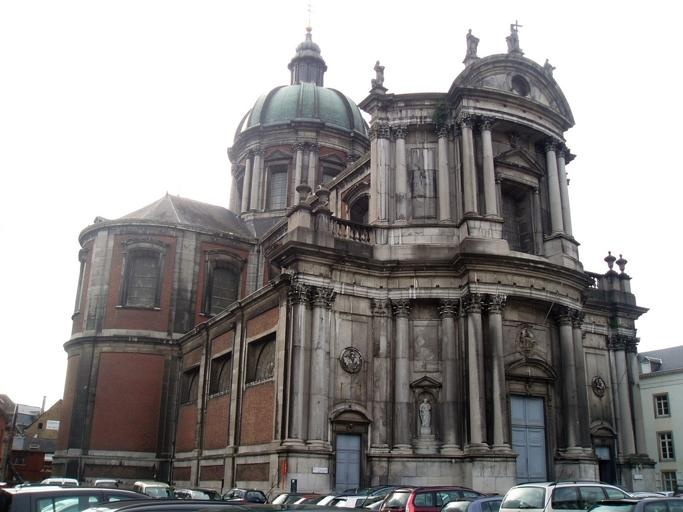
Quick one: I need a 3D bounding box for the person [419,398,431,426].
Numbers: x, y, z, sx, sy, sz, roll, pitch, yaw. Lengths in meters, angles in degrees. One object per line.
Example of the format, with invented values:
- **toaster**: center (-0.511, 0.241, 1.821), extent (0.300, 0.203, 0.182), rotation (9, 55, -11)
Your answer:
- **person**: center (3.940, 7.359, 29.360), extent (0.558, 1.311, 0.251), rotation (-4, -21, 7)
